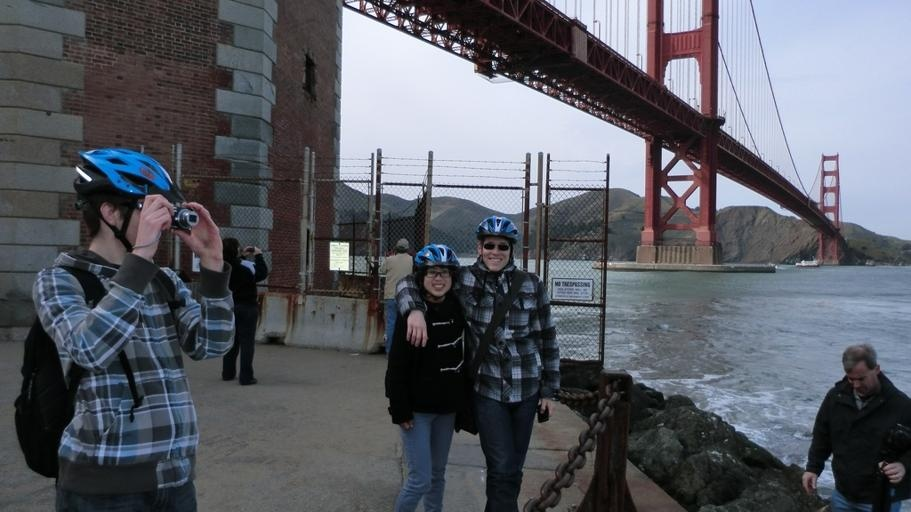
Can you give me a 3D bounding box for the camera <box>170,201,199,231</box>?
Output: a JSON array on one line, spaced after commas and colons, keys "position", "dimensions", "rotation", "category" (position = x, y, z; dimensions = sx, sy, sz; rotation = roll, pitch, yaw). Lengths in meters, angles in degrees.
[{"position": [-2.626, -0.355, 6.695], "dimensions": [0.228, 0.314, 0.329], "rotation": [3, 1, 21], "category": "camera"}]
